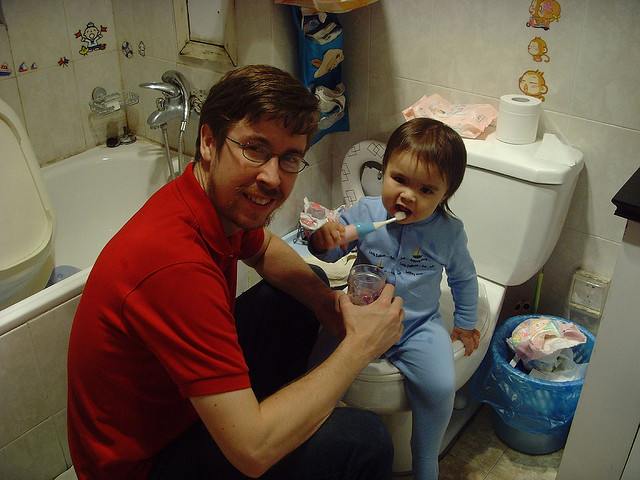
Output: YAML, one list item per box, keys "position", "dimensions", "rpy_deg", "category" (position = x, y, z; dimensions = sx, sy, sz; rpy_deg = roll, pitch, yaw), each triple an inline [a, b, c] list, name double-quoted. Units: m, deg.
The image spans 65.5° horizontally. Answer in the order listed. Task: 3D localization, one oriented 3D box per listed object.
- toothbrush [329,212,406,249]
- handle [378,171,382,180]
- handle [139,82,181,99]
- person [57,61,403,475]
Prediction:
- position: [0.143, -0.027, 1.398]
  dimensions: [0.194, 0.035, 0.033]
  rpy_deg: [-21, -14, -1]
  category: "toothbrush"
- position: [0.232, -0.254, 1.910]
  dimensions: [0.008, 0.026, 0.017]
  rpy_deg: [8, 4, -32]
  category: "handle"
- position: [-0.607, -0.581, 1.936]
  dimensions: [0.127, 0.065, 0.095]
  rpy_deg: [0, 25, 1]
  category: "handle"
- position: [-0.174, 0.078, 1.150]
  dimensions: [0.571, 0.880, 0.749]
  rpy_deg: [16, 29, 33]
  category: "person"
